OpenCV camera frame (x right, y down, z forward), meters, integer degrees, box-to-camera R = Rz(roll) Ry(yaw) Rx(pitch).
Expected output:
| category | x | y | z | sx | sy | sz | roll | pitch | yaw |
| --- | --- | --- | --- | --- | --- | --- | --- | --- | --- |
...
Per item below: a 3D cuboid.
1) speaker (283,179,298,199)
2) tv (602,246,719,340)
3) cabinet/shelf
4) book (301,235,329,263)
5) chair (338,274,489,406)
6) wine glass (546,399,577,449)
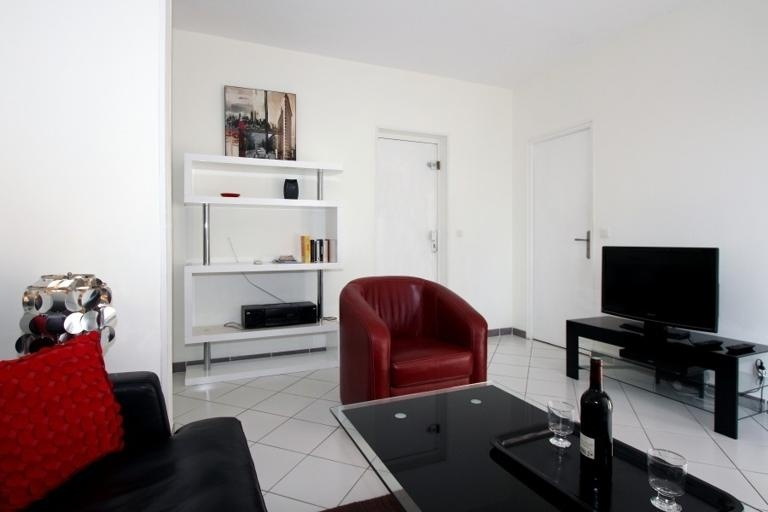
| category | x | y | z | sx | sy | sz | roll | pitch | yaw |
| --- | --- | --- | --- | --- | --- | --- | --- | --- | --- |
| speaker | -0.901 | -0.653 | 4.877 | 0.132 | 0.177 | 0.094 | -4 | 14 | -15 |
| tv | 2.326 | 0.274 | 4.265 | 0.226 | 0.705 | 1.006 | -2 | 4 | -30 |
| cabinet/shelf | -1.188 | 0.043 | 4.851 | 1.548 | 2.020 | 0.715 | -6 | 15 | -23 |
| book | -0.703 | -0.053 | 5.026 | 0.240 | 0.306 | 0.324 | 0 | 2 | -23 |
| chair | 0.177 | 0.704 | 4.073 | 1.066 | 0.969 | 0.949 | -1 | 4 | -26 |
| wine glass | 0.968 | 0.910 | 2.729 | 0.145 | 0.214 | 0.141 | 2 | -10 | 16 |
